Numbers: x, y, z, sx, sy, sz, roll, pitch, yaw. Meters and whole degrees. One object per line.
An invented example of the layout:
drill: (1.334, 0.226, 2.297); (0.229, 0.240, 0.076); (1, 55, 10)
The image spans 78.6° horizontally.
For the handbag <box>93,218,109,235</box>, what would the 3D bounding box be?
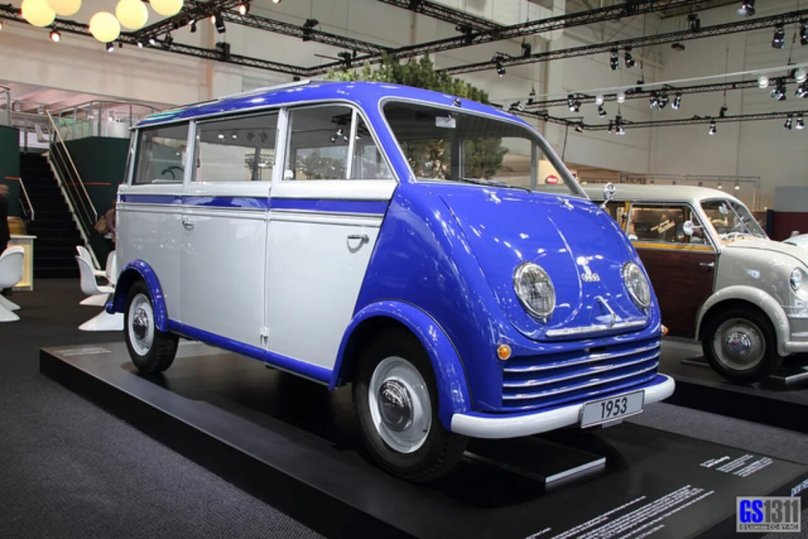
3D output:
handbag: (-7.102, -1.024, 11.584); (0.177, 0.505, 0.475); (17, 0, -41)

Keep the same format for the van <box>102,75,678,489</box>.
van: (-0.563, -0.027, 4.635); (2.528, 2.510, 4.864); (0, 1, -43)
